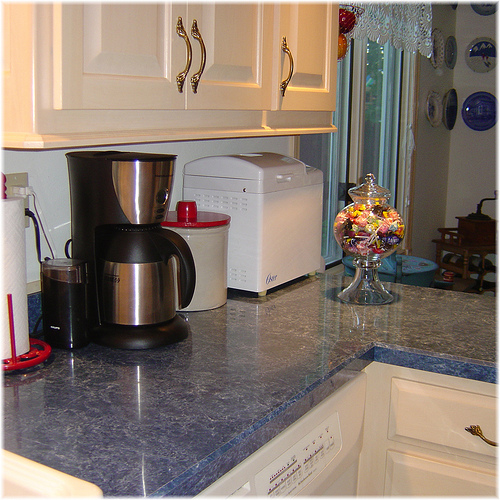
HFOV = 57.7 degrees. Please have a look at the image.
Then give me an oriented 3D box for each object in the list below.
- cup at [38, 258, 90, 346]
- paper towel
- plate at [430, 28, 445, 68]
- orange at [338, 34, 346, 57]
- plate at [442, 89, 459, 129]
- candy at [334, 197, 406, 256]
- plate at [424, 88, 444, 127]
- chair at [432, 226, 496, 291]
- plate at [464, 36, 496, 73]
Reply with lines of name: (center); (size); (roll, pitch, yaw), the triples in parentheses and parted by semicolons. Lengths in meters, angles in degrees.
cup: (-0.397, 0.108, 1.045); (0.118, 0.171, 0.135); (5, 8, 31)
paper towel: (-0.438, 0.057, 0.847); (0.055, 0.233, 0.116); (-2, 20, -30)
plate: (1.921, -2.049, 4.653); (0.042, 0.412, 0.549); (7, 10, 33)
orange: (0.347, -0.759, 1.706); (0.040, 0.072, 0.060); (8, 7, 11)
plate: (2.223, -1.552, 5.043); (0.160, 0.416, 0.369); (5, 4, 27)
candy: (0.358, -0.067, 1.435); (0.155, 0.162, 0.194); (-2, 22, -12)
plate: (1.889, -1.453, 4.672); (0.113, 0.347, 0.350); (2, 7, 41)
chair: (2.123, 0.042, 4.433); (0.623, 0.664, 1.307); (5, 9, 21)
plate: (2.551, -2.137, 5.028); (0.100, 0.363, 0.303); (-6, 11, -41)
